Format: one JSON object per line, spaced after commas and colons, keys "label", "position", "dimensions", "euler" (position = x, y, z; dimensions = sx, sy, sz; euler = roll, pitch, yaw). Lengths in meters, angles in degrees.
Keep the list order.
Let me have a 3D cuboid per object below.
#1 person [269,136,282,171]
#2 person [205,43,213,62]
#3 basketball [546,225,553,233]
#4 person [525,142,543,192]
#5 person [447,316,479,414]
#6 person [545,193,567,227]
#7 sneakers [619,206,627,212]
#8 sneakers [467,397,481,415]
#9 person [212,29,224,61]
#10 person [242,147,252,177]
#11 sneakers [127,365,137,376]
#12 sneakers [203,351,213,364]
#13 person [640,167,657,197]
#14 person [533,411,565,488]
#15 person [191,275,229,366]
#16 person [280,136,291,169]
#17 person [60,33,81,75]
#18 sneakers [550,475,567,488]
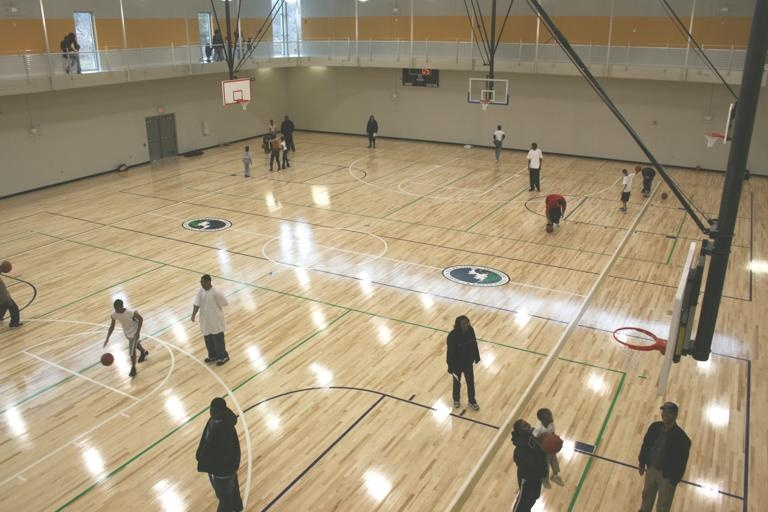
{"label": "person", "position": [-5.178, -4.868, 23.919], "dimensions": [0.614, 1.449, 1.459], "euler": [-5, 23, -11]}
{"label": "person", "position": [-8.714, -10.108, 25.113], "dimensions": [0.120, 0.762, 0.419], "euler": [10, 24, 22]}
{"label": "basketball", "position": [5.568, -0.914, 16.830], "dimensions": [0.210, 0.218, 0.212], "euler": [-8, 32, -6]}
{"label": "person", "position": [6.086, -3.559, 20.208], "dimensions": [0.604, 2.060, 1.599], "euler": [7, 24, 16]}
{"label": "person", "position": [1.473, 1.955, 9.216], "dimensions": [0.621, 1.839, 0.429], "euler": [-5, 17, -1]}
{"label": "person", "position": [5.791, -1.549, 17.033], "dimensions": [0.557, 1.155, 1.048], "euler": [9, 24, 22]}
{"label": "sneakers", "position": [8.820, -1.768, 18.605], "dimensions": [0.095, 0.140, 0.283], "euler": [-22, 31, 0]}
{"label": "sneakers", "position": [1.683, 2.783, 9.379], "dimensions": [0.128, 0.114, 0.264], "euler": [-32, 43, -17]}
{"label": "person", "position": [-8.396, -10.670, 25.528], "dimensions": [0.525, 1.438, 0.896], "euler": [-7, 24, -16]}
{"label": "person", "position": [-6.219, -4.319, 22.703], "dimensions": [0.366, 1.436, 1.785], "euler": [-7, 24, -15]}
{"label": "sneakers", "position": [-5.161, 2.346, 10.374], "dimensions": [0.123, 0.220, 0.094], "euler": [1, -4, -3]}
{"label": "sneakers", "position": [-3.732, 2.162, 10.722], "dimensions": [0.232, 0.227, 0.112], "euler": [12, 41, 5]}
{"label": "person", "position": [10.177, -2.859, 19.510], "dimensions": [0.354, 1.260, 1.824], "euler": [13, 26, 29]}
{"label": "person", "position": [2.429, 2.889, 7.415], "dimensions": [0.416, 1.301, 0.541], "euler": [9, 49, 36]}
{"label": "person", "position": [-3.556, 1.263, 10.428], "dimensions": [0.689, 2.003, 0.432], "euler": [9, 24, 21]}
{"label": "person", "position": [-4.874, -5.188, 24.817], "dimensions": [0.424, 1.297, 2.240], "euler": [-4, 23, -10]}
{"label": "person", "position": [-12.701, -8.195, 20.480], "dimensions": [0.665, 1.396, 1.912], "euler": [-12, 25, -26]}
{"label": "sneakers", "position": [2.706, 3.486, 7.880], "dimensions": [0.278, 0.121, 0.095], "euler": [21, 51, 40]}
